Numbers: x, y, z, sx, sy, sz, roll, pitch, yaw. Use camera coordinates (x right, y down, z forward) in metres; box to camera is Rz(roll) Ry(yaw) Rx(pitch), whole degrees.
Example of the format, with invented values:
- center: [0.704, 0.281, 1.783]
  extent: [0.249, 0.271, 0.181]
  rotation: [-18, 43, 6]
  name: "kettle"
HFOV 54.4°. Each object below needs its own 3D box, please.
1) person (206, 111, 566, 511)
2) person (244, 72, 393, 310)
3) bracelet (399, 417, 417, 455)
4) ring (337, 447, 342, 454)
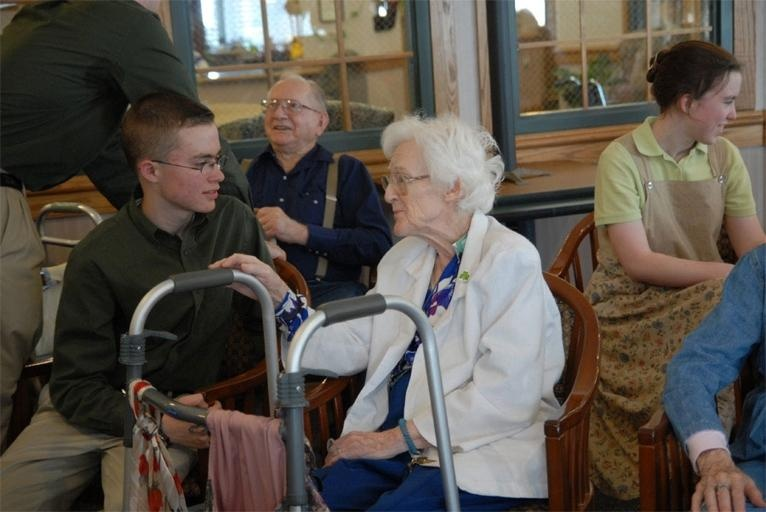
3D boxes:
- center: [0.124, 0.185, 3.140]
  extent: [1.292, 1.822, 1.098]
  rotation: [3, 0, -31]
  name: "person"
- center: [-0.491, -0.291, 3.672]
  extent: [0.844, 1.217, 0.759]
  rotation: [2, 7, 24]
  name: "person"
- center: [0.080, 0.574, 2.421]
  extent: [0.029, 0.099, 0.070]
  rotation: [-15, 1, -14]
  name: "bracelet"
- center: [-0.146, 0.639, 2.482]
  extent: [0.018, 0.017, 0.004]
  rotation: [-1, -14, 9]
  name: "ring"
